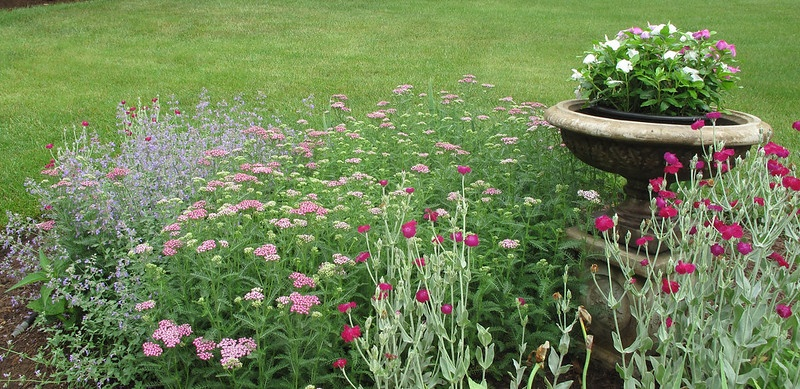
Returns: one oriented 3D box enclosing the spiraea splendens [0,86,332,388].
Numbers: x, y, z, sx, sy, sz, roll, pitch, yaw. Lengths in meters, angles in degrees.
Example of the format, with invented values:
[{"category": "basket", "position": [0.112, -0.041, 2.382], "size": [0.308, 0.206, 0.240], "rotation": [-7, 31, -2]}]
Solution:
[{"category": "spiraea splendens", "position": [-3.836, 1.032, 9.872], "size": [4.539, 4.242, 2.792], "rotation": [3, -18, 5]}]
